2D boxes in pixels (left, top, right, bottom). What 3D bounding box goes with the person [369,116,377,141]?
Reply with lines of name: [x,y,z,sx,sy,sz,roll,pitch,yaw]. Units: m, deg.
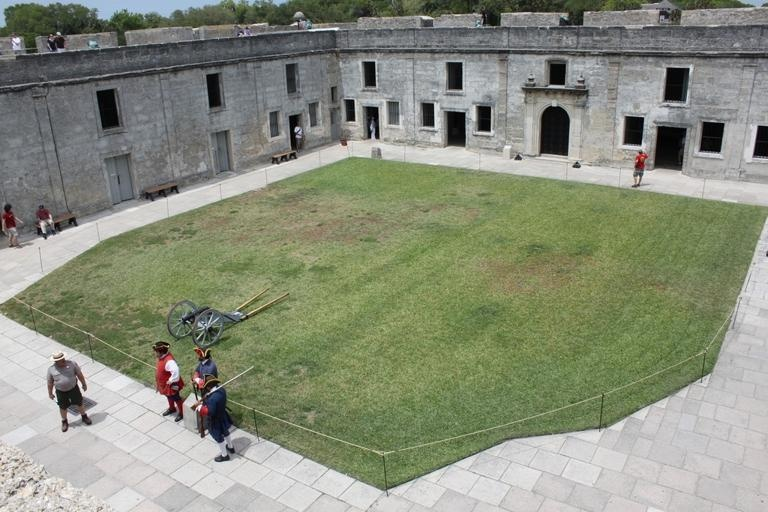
person: [-0.929,-10.189,44.548,0.669,1.740,1.009,-8,21,-14]

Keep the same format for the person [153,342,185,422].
person: [-6.692,3.880,17.174,1.134,2.480,0.630,13,26,35]

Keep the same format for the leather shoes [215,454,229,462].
leather shoes: [-4.668,5.820,15.928,0.361,0.121,0.187,0,14,-15]

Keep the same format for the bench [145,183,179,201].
bench: [-13.645,-3.933,33.949,0.888,0.738,1.939,14,24,38]

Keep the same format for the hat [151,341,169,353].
hat: [-6.817,2.815,16.958,0.373,0.316,0.244,-16,24,-33]

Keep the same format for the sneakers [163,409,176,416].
sneakers: [-6.784,4.938,17.509,0.402,0.145,0.139,-3,14,-7]

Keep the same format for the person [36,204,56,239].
person: [-17.688,-1.816,28.877,0.773,1.550,1.201,-14,23,-28]

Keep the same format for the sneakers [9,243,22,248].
sneakers: [-18.570,-0.467,27.807,0.647,0.251,0.229,-4,21,-18]

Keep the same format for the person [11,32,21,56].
person: [-22.544,-12.906,34.057,0.590,1.059,2.563,-14,22,-28]

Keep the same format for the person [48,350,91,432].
person: [-9.740,4.036,17.022,0.994,2.440,1.203,-16,24,-32]

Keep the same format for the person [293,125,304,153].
person: [-6.523,-8.877,42.261,0.640,1.912,1.023,-3,20,-2]

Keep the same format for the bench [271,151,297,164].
bench: [-7.318,-7.127,40.246,0.946,0.648,2.138,13,24,37]
